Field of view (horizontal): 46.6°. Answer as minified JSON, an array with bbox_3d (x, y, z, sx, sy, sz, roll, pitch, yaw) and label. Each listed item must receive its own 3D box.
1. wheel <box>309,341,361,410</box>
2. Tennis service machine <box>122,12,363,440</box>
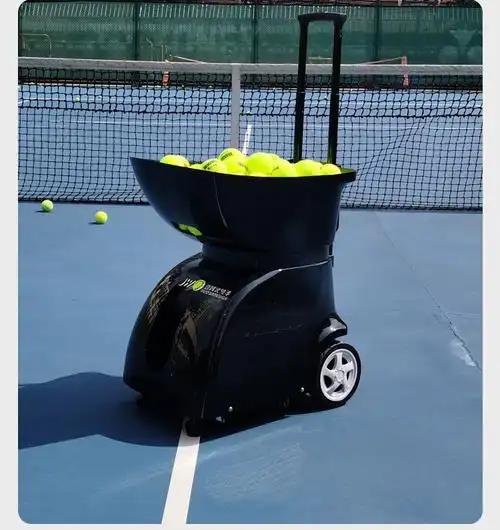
[{"bbox_3d":[0.347,0.460,2.406,0.257,0.262,0.082,-6,17,-35],"label":"wheel"},{"bbox_3d":[-0.005,-0.201,2.396,0.869,1.648,0.785,-11,19,-43],"label":"Tennis service machine"}]
